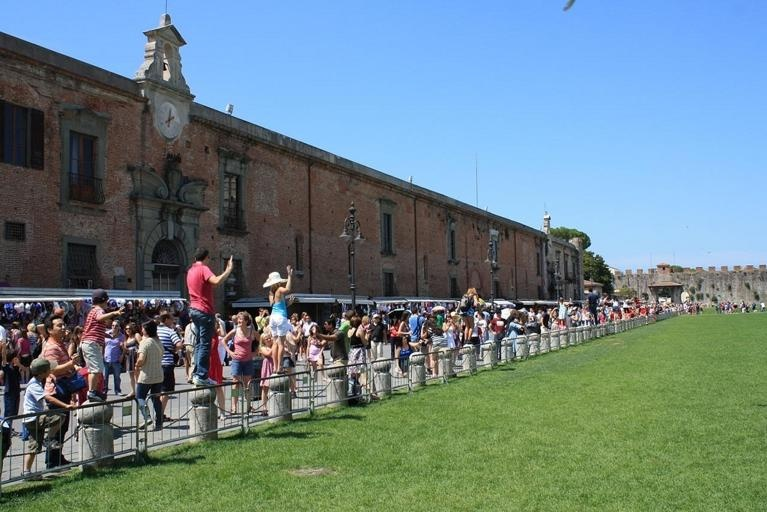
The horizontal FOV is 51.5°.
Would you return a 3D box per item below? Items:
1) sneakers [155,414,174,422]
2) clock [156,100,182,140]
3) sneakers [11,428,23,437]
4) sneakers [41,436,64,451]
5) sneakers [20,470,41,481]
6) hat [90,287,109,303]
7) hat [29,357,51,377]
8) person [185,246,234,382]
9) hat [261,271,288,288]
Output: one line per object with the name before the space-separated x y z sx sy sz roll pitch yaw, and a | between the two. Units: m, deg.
sneakers | -4.830 3.672 17.608 0.310 0.135 0.097 -3 -6 10
clock | -9.253 -5.932 34.283 0.183 1.876 1.784 -2 1 23
sneakers | -7.334 3.620 15.971 0.205 0.224 0.124 -5 10 -32
sneakers | -6.735 3.922 16.274 0.502 0.241 0.188 0 2 1
sneakers | -7.144 4.545 16.121 0.447 0.213 0.174 -3 -3 26
hat | -6.495 0.970 18.303 0.314 0.293 0.459 2 13 -1
hat | -7.288 2.436 17.012 0.290 0.260 0.428 15 25 22
person | -4.007 1.460 18.115 0.774 3.245 1.045 -2 9 -15
hat | -3.825 0.839 27.617 0.851 0.431 0.846 -13 -8 -36
